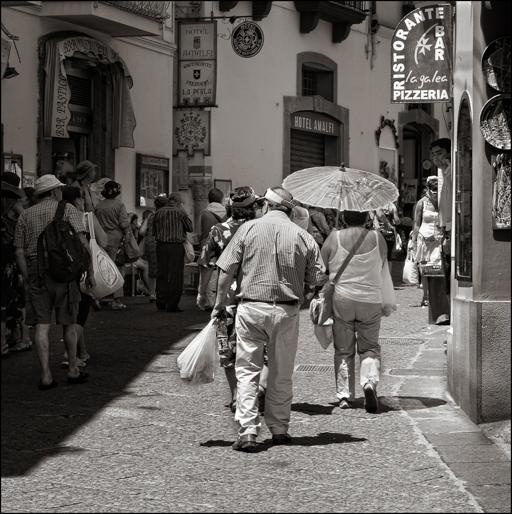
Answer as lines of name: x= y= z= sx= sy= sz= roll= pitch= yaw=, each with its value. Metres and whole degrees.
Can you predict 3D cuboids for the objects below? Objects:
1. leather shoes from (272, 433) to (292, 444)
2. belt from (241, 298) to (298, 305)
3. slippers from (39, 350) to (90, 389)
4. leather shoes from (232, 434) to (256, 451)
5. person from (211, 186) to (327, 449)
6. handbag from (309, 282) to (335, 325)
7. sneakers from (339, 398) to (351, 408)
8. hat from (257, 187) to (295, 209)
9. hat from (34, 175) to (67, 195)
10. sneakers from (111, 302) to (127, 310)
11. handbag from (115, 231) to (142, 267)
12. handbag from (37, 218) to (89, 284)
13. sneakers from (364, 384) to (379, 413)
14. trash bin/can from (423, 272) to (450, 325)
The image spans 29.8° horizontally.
leather shoes: x=0.164 y=1.218 z=6.492 sx=0.057 sy=0.082 sz=0.112 roll=7 pitch=12 yaw=38
belt: x=0.083 y=0.305 z=6.412 sx=0.368 sy=0.050 sz=0.097 roll=0 pitch=4 yaw=4
slippers: x=-1.733 y=1.046 z=8.518 sx=0.135 sy=0.190 sz=0.422 roll=3 pitch=7 yaw=38
leather shoes: x=-0.088 y=1.204 z=6.206 sx=0.159 sy=0.125 sz=0.113 roll=0 pitch=4 yaw=8
person: x=0.100 y=0.399 z=6.466 sx=0.705 sy=1.739 sz=0.694 roll=-1 pitch=4 yaw=-7
handbag: x=0.495 y=0.378 z=7.648 sx=0.119 sy=0.319 sz=0.238 roll=3 pitch=-3 yaw=1
sneakers: x=0.706 y=1.171 z=7.689 sx=0.104 sy=0.078 sz=0.127 roll=0 pitch=4 yaw=6
hat: x=0.136 y=-0.418 z=6.651 sx=0.165 sy=0.086 sz=0.135 roll=27 pitch=5 yaw=37
hat: x=-1.877 y=-0.663 z=8.675 sx=0.211 sy=0.098 sz=0.186 roll=-17 pitch=10 yaw=-6
sneakers: x=-2.124 y=0.757 z=14.810 sx=0.177 sy=0.135 sz=0.097 roll=0 pitch=2 yaw=-4
handbag: x=-1.996 y=-0.123 z=14.872 sx=0.519 sy=0.716 sz=0.351 roll=-2 pitch=9 yaw=-17
handbag: x=-1.703 y=-0.065 z=8.552 sx=0.286 sy=0.569 sz=0.387 roll=-8 pitch=6 yaw=23
sneakers: x=0.884 y=1.099 z=7.451 sx=0.084 sy=0.253 sz=0.111 roll=-1 pitch=4 yaw=9
trash bin/can: x=2.392 y=0.580 z=12.670 sx=0.262 sy=0.664 sz=0.591 roll=0 pitch=4 yaw=12
